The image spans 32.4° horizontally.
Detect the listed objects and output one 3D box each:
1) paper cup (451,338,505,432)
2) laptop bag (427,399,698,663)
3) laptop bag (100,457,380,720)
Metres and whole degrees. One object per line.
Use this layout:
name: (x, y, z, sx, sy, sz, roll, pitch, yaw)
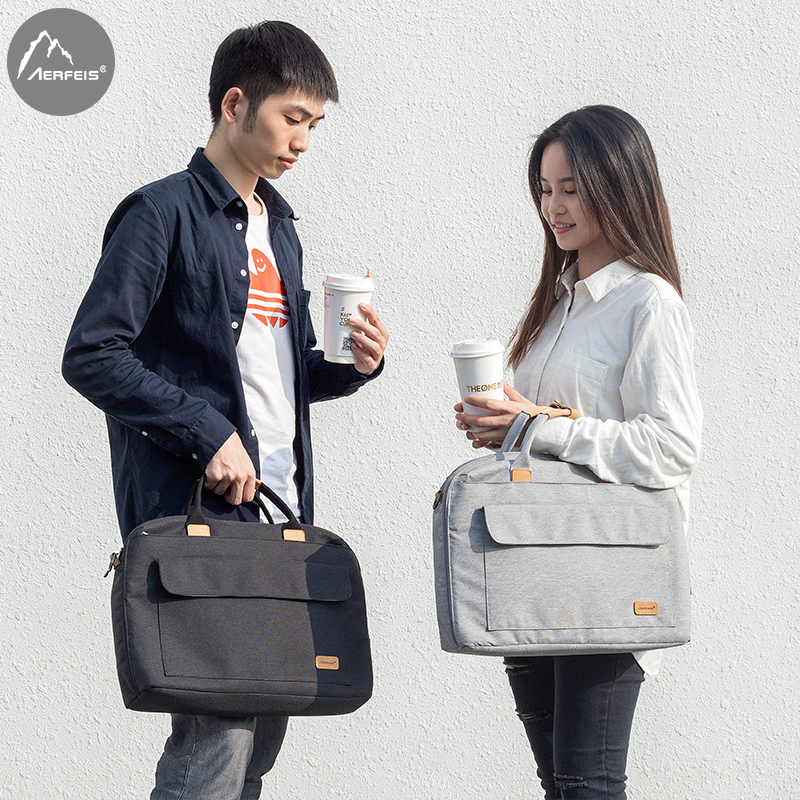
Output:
paper cup: (0.183, -0.044, 3.022, 0.131, 0.141, 0.125, -8, 6, 1)
laptop bag: (0.358, 0.278, 2.940, 0.732, 0.597, 0.272, 2, -14, -17)
laptop bag: (-0.349, 0.391, 2.903, 0.600, 0.501, 0.162, 7, -21, -37)
